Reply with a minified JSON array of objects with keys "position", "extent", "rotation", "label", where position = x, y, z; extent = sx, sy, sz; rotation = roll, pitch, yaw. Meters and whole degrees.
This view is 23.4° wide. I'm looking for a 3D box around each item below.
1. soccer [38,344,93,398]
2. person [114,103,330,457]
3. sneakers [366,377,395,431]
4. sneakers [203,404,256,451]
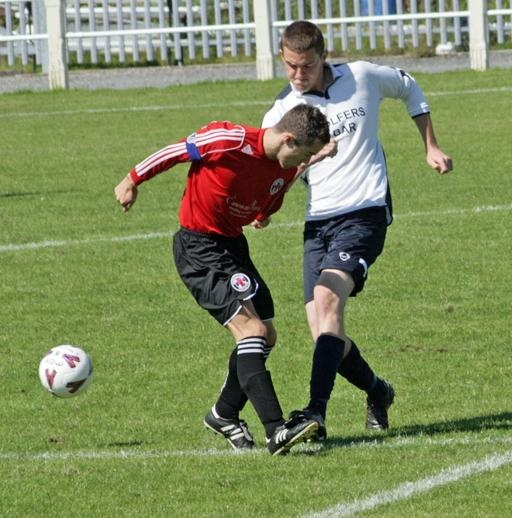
[{"position":[-1.257,0.823,8.267],"extent":[0.279,0.358,0.332],"rotation":[10,-19,3],"label":"soccer"},{"position":[-0.143,0.169,7.683],"extent":[1.211,2.188,1.032],"rotation":[1,13,13],"label":"person"},{"position":[0.810,0.938,8.041],"extent":[0.179,0.328,0.220],"rotation":[-1,14,6],"label":"sneakers"},{"position":[-0.151,1.083,7.974],"extent":[0.414,0.178,0.157],"rotation":[40,5,13],"label":"sneakers"}]
